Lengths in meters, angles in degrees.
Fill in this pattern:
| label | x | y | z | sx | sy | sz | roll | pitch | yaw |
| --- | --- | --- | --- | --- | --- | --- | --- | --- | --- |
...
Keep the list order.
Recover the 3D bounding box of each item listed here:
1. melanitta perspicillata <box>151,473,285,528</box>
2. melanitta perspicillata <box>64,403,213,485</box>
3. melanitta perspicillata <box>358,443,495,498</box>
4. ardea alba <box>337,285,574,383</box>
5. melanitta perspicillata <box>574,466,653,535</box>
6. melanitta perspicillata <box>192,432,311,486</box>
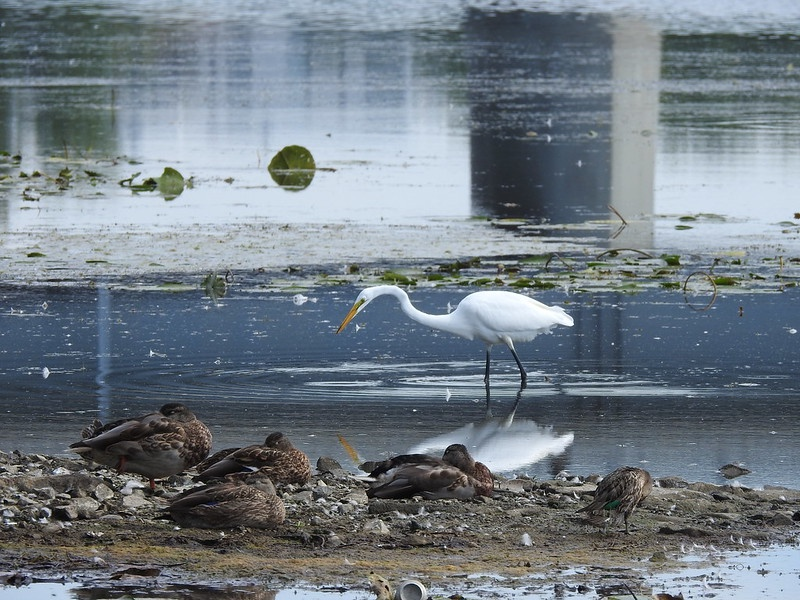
| label | x | y | z | sx | sy | sz | roll | pitch | yaw |
| --- | --- | --- | --- | --- | --- | --- | --- | --- | --- |
| melanitta perspicillata | -2.321 | 2.691 | 24.350 | 1.507 | 0.676 | 0.505 | -1 | 5 | -6 |
| melanitta perspicillata | -3.584 | 1.969 | 25.395 | 2.089 | 1.062 | 1.031 | 2 | -3 | -3 |
| melanitta perspicillata | 0.297 | 2.375 | 25.216 | 1.486 | 0.407 | 1.042 | -7 | 14 | -40 |
| ardea alba | 0.809 | 0.758 | 29.918 | 3.167 | 1.733 | 2.775 | -9 | 10 | -41 |
| melanitta perspicillata | 2.812 | 2.658 | 24.358 | 0.893 | 0.854 | 0.421 | 0 | 5 | 5 |
| melanitta perspicillata | -2.134 | 2.278 | 25.161 | 1.799 | 0.848 | 0.843 | 1 | -15 | -15 |
